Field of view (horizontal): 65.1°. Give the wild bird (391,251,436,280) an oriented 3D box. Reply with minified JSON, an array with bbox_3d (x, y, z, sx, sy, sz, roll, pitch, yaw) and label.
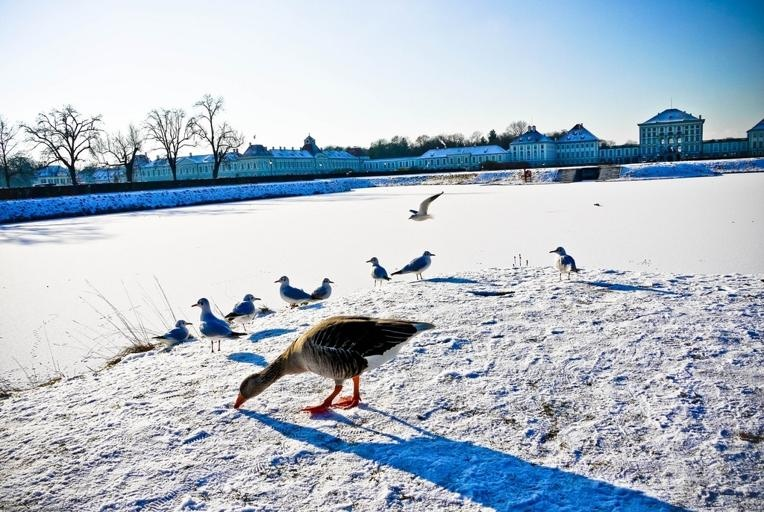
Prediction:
[{"bbox_3d":[0.744,0.201,13.233,0.652,0.626,1.013,-3,12,9],"label":"wild bird"}]

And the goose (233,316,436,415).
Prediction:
[{"bbox_3d":[-0.544,1.371,7.461,2.301,1.211,0.480,-2,13,14],"label":"goose"}]

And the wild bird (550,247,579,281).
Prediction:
[{"bbox_3d":[3.596,0.099,11.840,0.671,0.553,0.366,8,15,7],"label":"wild bird"}]

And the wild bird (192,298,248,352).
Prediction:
[{"bbox_3d":[-2.929,1.117,9.969,1.313,0.921,0.482,5,3,32],"label":"wild bird"}]

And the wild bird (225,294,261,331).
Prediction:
[{"bbox_3d":[-2.472,0.984,10.631,0.681,0.576,0.385,-4,-2,-39],"label":"wild bird"}]

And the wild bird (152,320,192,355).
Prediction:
[{"bbox_3d":[-3.570,1.367,10.201,0.556,0.399,0.724,-9,13,-19],"label":"wild bird"}]
